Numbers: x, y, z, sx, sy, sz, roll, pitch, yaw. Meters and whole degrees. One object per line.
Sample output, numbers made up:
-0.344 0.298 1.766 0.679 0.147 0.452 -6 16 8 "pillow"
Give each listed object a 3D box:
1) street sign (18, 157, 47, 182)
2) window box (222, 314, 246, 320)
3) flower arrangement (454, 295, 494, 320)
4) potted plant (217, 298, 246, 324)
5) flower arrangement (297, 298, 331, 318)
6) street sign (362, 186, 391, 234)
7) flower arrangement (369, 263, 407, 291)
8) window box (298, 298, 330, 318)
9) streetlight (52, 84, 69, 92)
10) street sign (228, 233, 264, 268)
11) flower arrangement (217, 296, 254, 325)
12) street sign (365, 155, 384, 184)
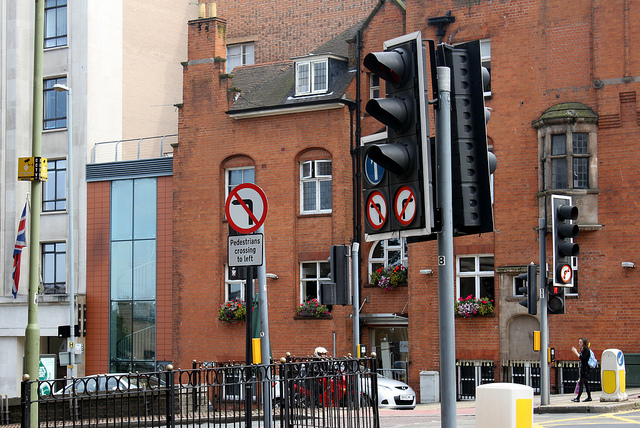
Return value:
-10.354 -1.665 56.327 0.940 0.921 0.629 -2 -12 -5 "street sign"
-3.713 4.548 68.415 0.924 0.210 0.163 -7 -13 22 "window box"
6.510 3.878 64.579 1.625 1.011 0.519 -4 -12 7 "flower arrangement"
-3.753 4.342 68.441 1.511 1.088 1.394 -3 27 -9 "potted plant"
-0.226 4.084 67.163 0.918 0.380 0.891 -1 -4 24 "flower arrangement"
1.731 -0.114 45.410 0.180 1.407 1.144 -1 -3 -38 "street sign"
3.010 2.744 66.998 1.353 0.654 1.204 0 -14 -18 "flower arrangement"
-0.132 4.073 66.451 1.260 0.541 1.166 1 -8 -2 "window box"
-12.036 -5.977 72.891 0.760 0.181 0.701 2 -2 29 "streetlight"
-2.207 1.126 48.225 1.188 0.902 0.154 -1 -8 11 "street sign"
-3.586 4.288 68.602 1.369 0.769 1.180 -2 -3 -41 "flower arrangement"
1.670 -1.337 45.355 0.870 0.916 0.076 6 8 41 "street sign"
